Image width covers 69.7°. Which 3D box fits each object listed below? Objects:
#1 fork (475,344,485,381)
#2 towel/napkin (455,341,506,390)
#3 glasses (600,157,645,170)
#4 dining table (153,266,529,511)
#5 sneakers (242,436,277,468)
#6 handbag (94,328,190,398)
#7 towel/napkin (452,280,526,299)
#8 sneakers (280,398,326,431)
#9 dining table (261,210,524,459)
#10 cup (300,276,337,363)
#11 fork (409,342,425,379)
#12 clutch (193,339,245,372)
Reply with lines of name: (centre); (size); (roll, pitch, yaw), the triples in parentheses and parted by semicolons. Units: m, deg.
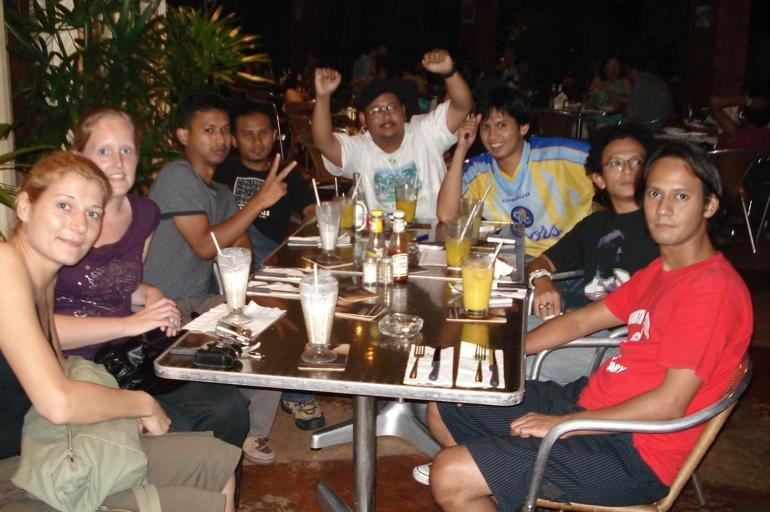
fork: (0.315, 0.356, 1.808); (0.029, 0.013, 0.114); (0, 34, 8)
towel/napkin: (0.352, 0.352, 1.796); (0.175, 0.156, 0.136); (5, -9, 32)
glasses: (1.205, -0.465, 2.792); (0.193, 0.074, 0.054); (4, 14, 18)
dining table: (-0.043, 0.587, 2.015); (0.955, 0.792, 0.862); (3, 35, 3)
sneakers: (-0.689, 1.034, 2.937); (0.234, 0.084, 0.106); (2, 2, 44)
handbag: (-0.951, 0.399, 2.218); (0.363, 0.129, 0.246); (-1, 7, -18)
towel/napkin: (0.456, 0.150, 2.365); (0.201, 0.036, 0.112); (1, 14, 1)
sneakers: (-0.467, 0.923, 3.250); (0.299, 0.118, 0.127); (25, 31, 25)
dining table: (0.108, 0.515, 2.543); (1.250, 0.679, 1.126); (3, 38, 6)
cup: (-0.227, 0.183, 1.880); (0.125, 0.295, 0.250); (-2, 13, -8)
fork: (0.106, 0.343, 1.820); (0.025, 0.020, 0.164); (8, 32, 10)
clutch: (-0.557, 0.325, 1.815); (0.111, 0.032, 0.102); (2, 16, -3)
